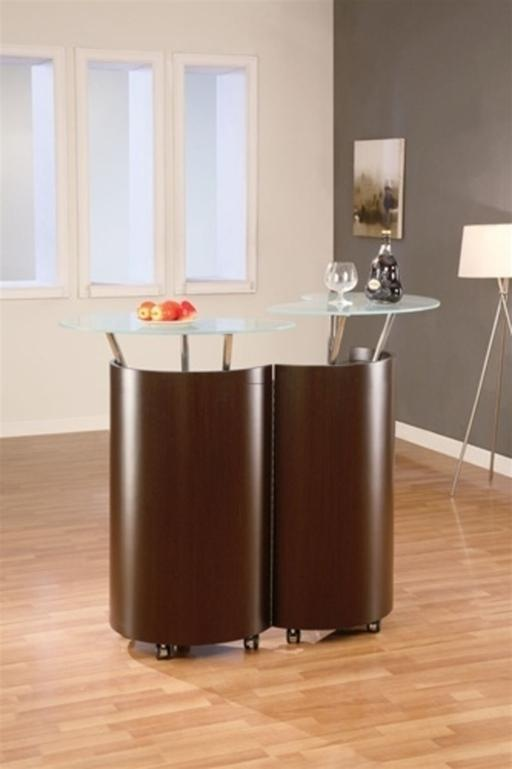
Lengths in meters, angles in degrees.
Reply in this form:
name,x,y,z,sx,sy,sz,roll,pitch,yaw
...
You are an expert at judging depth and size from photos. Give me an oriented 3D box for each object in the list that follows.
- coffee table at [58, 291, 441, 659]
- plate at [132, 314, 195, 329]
name,x,y,z,sx,sy,sz,roll,pitch,yaw
coffee table,0.000,0.296,2.378,1.244,1.162,0.608,-2,7,-15
plate,-0.233,-0.146,1.774,0.177,0.036,0.196,1,5,10
